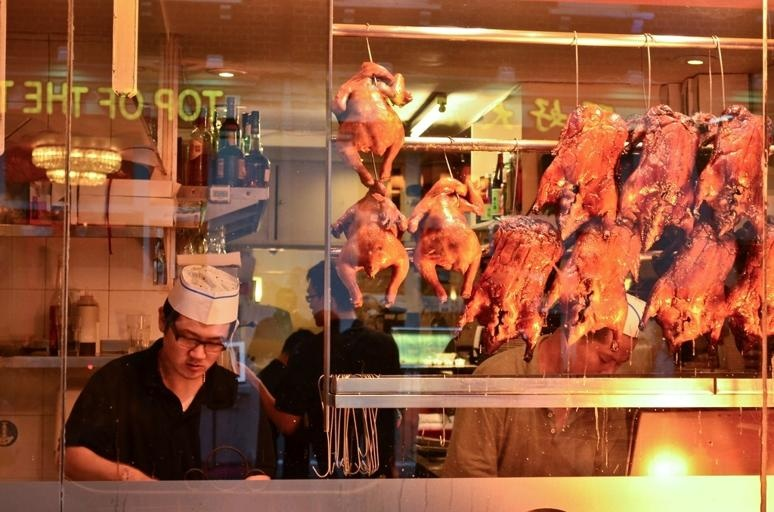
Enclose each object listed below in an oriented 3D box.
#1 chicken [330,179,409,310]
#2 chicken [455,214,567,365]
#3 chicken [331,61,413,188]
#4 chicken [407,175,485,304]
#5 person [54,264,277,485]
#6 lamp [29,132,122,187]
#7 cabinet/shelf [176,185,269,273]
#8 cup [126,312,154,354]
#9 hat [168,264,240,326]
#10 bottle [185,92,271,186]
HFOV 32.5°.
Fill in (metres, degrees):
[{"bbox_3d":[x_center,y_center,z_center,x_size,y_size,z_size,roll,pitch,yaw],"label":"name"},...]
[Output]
[{"bbox_3d":[-0.100,-0.068,6.404,0.398,0.647,0.205,-2,-26,-6],"label":"chicken"},{"bbox_3d":[0.629,0.131,6.485,0.393,0.693,0.244,18,-23,9],"label":"chicken"},{"bbox_3d":[-0.092,-0.674,6.391,0.381,0.695,0.290,3,-42,-7],"label":"chicken"},{"bbox_3d":[0.307,-0.099,6.471,0.365,0.662,0.238,7,-37,21],"label":"chicken"},{"bbox_3d":[-1.043,0.618,6.334,0.876,1.158,0.600,8,-4,-30],"label":"person"},{"bbox_3d":[-1.499,-0.470,6.427,0.299,0.151,0.300,0,-4,42],"label":"lamp"},{"bbox_3d":[-0.808,-0.210,6.507,0.382,0.444,0.102,3,-2,-1],"label":"cabinet/shelf"},{"bbox_3d":[-1.198,0.359,6.239,0.149,0.249,0.155,-2,-6,0],"label":"cup"},{"bbox_3d":[-0.872,0.190,6.340,0.292,0.160,0.291,15,13,-5],"label":"hat"},{"bbox_3d":[-0.784,-0.551,6.434,0.411,0.597,0.152,1,-3,-5],"label":"bottle"}]
